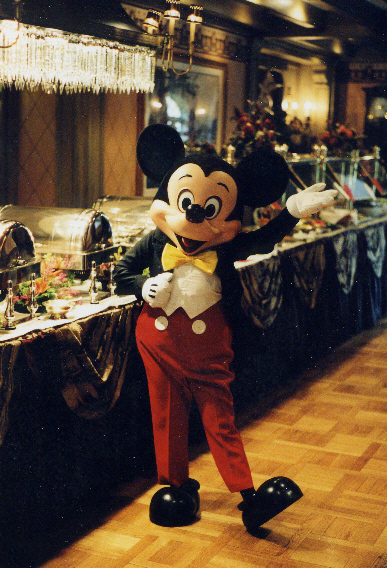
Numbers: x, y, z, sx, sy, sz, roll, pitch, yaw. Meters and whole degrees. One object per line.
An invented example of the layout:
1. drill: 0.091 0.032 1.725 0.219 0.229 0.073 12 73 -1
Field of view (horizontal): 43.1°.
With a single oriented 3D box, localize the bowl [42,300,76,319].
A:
1. bowl: -0.468 0.087 1.719 0.096 0.061 0.119 2 3 -14
